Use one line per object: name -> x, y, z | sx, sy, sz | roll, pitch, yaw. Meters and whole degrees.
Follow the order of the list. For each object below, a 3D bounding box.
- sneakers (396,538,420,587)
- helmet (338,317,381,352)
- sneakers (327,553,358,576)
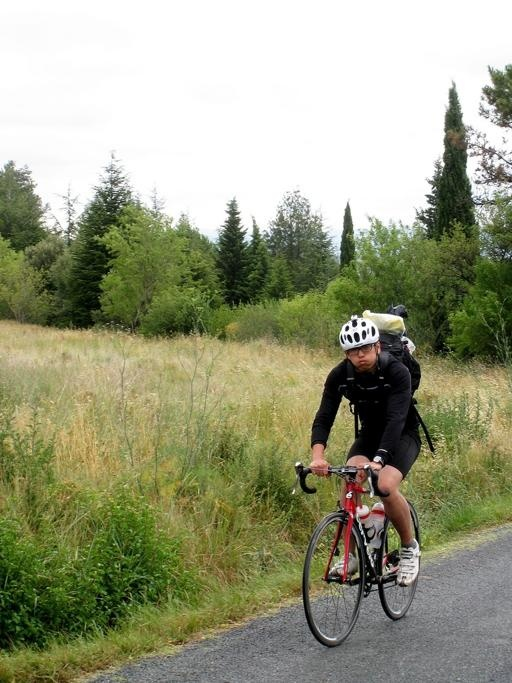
sneakers -> 1.080, 1.508, 4.777 | 0.128, 0.146, 0.375 | -5, 32, 26
helmet -> 0.675, -0.060, 4.534 | 0.238, 0.244, 0.265 | 0, -3, 8
sneakers -> 0.556, 1.421, 4.409 | 0.092, 0.107, 0.253 | 1, 0, 23
